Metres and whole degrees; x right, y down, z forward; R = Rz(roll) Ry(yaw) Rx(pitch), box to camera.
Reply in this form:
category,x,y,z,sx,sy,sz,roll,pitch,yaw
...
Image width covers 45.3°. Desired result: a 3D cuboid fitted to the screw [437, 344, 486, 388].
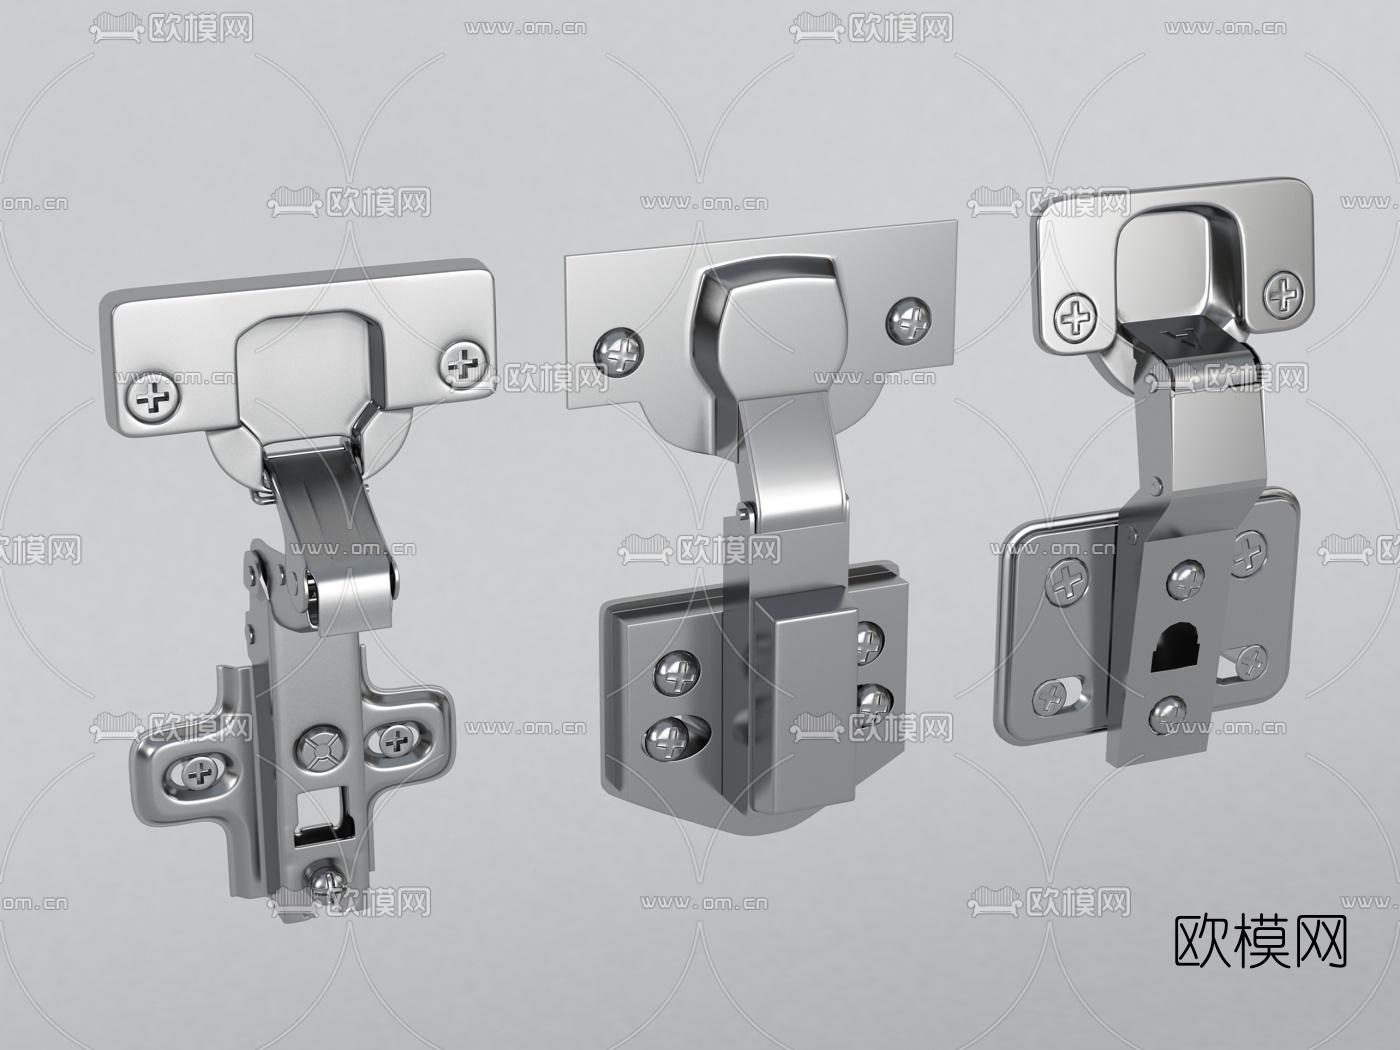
category,x,y,z,sx,sy,sz,roll,pitch,yaw
screw,-0.245,-0.162,1.700,0.034,0.045,0.005,-3,11,-22

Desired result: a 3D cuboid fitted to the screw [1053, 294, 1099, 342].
category,x,y,z,sx,sy,sz,roll,pitch,yaw
screw,0.419,-0.235,1.896,0.038,0.053,0.011,-5,12,-22

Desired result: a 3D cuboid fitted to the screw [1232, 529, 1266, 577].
category,x,y,z,sx,sy,sz,roll,pitch,yaw
screw,0.666,0.032,2.051,0.039,0.048,0.005,-18,21,-26

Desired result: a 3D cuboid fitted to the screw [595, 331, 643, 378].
category,x,y,z,sx,sy,sz,roll,pitch,yaw
screw,-0.087,-0.180,1.761,0.054,0.050,0.005,-16,24,-13

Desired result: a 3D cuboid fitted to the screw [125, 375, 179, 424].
category,x,y,z,sx,sy,sz,roll,pitch,yaw
screw,-0.527,-0.121,1.605,0.036,0.045,0.004,-3,8,-25

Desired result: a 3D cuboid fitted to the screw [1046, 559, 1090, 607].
category,x,y,z,sx,sy,sz,roll,pitch,yaw
screw,0.433,0.067,1.999,0.040,0.050,0.006,-11,19,-25

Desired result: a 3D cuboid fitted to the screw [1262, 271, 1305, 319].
category,x,y,z,sx,sy,sz,roll,pitch,yaw
screw,0.675,-0.270,1.959,0.041,0.052,0.004,-7,10,-26

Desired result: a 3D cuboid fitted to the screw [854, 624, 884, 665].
category,x,y,z,sx,sy,sz,roll,pitch,yaw
screw,0.191,0.134,1.906,0.038,0.047,0.009,-9,12,-32

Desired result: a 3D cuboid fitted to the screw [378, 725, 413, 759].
category,x,y,z,sx,sy,sz,roll,pitch,yaw
screw,-0.324,0.227,1.766,0.028,0.033,0.004,-6,14,-27

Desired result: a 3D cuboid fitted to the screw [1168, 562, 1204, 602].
category,x,y,z,sx,sy,sz,roll,pitch,yaw
screw,0.576,0.067,2.005,0.038,0.050,0.012,21,10,-36

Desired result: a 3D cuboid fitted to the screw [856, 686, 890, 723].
category,x,y,z,sx,sy,sz,roll,pitch,yaw
screw,0.200,0.202,1.922,0.034,0.043,0.009,0,10,-22

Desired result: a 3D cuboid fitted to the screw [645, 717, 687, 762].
category,x,y,z,sx,sy,sz,roll,pitch,yaw
screw,-0.042,0.238,1.877,0.040,0.051,0.007,-3,13,-21

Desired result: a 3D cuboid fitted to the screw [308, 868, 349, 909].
category,x,y,z,sx,sy,sz,roll,pitch,yaw
screw,-0.389,0.378,1.753,0.029,0.048,0.035,-11,7,-20
